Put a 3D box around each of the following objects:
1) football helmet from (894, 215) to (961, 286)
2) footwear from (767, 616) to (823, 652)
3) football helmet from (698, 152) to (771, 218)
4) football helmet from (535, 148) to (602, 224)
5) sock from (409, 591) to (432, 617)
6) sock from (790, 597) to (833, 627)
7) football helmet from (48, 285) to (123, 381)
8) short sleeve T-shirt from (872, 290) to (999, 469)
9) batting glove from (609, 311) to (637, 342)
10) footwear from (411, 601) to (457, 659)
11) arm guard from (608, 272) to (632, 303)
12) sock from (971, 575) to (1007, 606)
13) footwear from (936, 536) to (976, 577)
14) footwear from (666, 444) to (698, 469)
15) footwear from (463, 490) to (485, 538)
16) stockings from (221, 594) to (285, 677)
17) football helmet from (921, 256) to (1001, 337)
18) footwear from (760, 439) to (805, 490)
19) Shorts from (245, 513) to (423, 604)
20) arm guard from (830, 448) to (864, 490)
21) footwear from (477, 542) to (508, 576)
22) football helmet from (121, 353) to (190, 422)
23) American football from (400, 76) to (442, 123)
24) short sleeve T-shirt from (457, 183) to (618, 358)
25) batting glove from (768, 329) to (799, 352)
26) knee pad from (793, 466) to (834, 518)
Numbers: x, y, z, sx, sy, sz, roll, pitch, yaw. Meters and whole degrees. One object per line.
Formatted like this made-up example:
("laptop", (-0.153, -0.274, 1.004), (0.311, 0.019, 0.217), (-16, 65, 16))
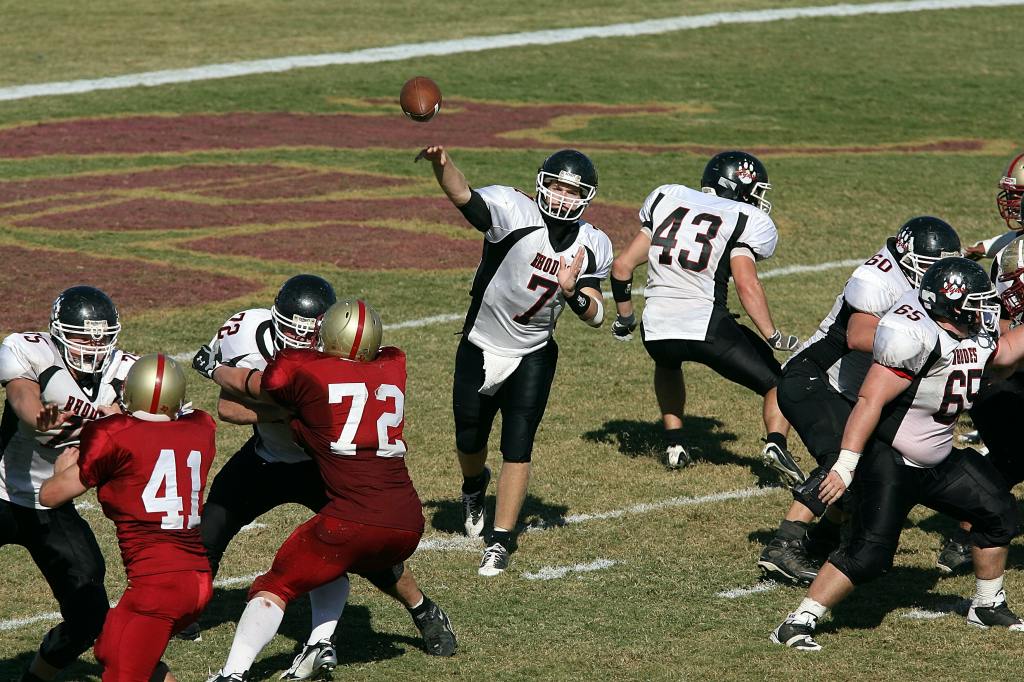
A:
("football helmet", (2.837, -0.629, 9.637), (0.432, 0.398, 0.521), (-1, 19, -28))
("footwear", (1.848, 1.920, 9.219), (0.443, 0.238, 0.146), (10, 7, 8))
("football helmet", (1.787, -1.307, 11.184), (0.673, 0.448, 0.466), (5, 13, -7))
("football helmet", (0.389, -1.104, 10.180), (0.434, 0.419, 0.548), (17, -3, 6))
("sock", (-0.627, 1.725, 9.098), (0.123, 0.146, 0.154), (38, -19, -16))
("sock", (1.936, 1.791, 9.141), (0.323, 0.120, 0.138), (0, -8, 1))
("football helmet", (-2.787, -0.120, 9.063), (0.466, 0.472, 0.597), (1, 16, -34))
("short sleeve T-shirt", (2.748, 0.335, 9.442), (0.655, 1.051, 1.199), (13, 4, 38))
("batting glove", (0.900, -0.105, 11.010), (0.164, 0.188, 0.291), (-2, 15, -4))
("footwear", (-0.517, 1.909, 9.110), (0.136, 0.374, 0.168), (-32, -2, 21))
("arm guard", (0.862, -0.426, 11.249), (0.224, 0.185, 0.197), (15, 14, 22))
("sock", (3.167, 1.674, 9.275), (0.234, 0.210, 0.162), (-4, -3, 43))
("footwear", (3.217, 1.550, 10.003), (0.433, 0.248, 0.136), (4, 3, -3))
("footwear", (1.344, 0.926, 11.107), (0.172, 0.203, 0.190), (2, 56, -7))
("footwear", (-0.264, 1.291, 10.420), (0.129, 0.357, 0.173), (0, -5, 13))
("stockings", (-1.569, 1.781, 8.646), (0.258, 0.565, 0.238), (30, -15, -5))
("football helmet", (2.928, -0.322, 9.183), (0.588, 0.428, 0.400), (6, 14, 9))
("footwear", (1.980, 0.905, 10.145), (0.160, 0.476, 0.201), (-27, 32, 34))
("Shorts", (-1.097, 1.314, 8.701), (0.856, 0.238, 0.622), (-22, -22, 9))
("arm guard", (2.199, 0.824, 9.131), (0.247, 0.260, 0.140), (-8, 15, -30))
("footwear", (-0.132, 1.554, 9.959), (0.217, 0.213, 0.176), (-1, 13, -2))
("football helmet", (-2.185, 0.260, 8.614), (0.441, 0.418, 0.549), (8, 17, -16))
("American football", (-0.625, -1.709, 10.068), (0.342, 0.371, 0.316), (-7, 55, -6))
("short sleeve T-shirt", (0.070, -0.449, 10.233), (1.284, 1.055, 0.624), (18, 5, -24))
("batting glove", (2.108, -0.008, 10.884), (0.254, 0.112, 0.143), (16, 52, 7))
("knee pad", (2.096, 1.037, 9.522), (0.327, 0.104, 0.308), (-34, 40, 12))
